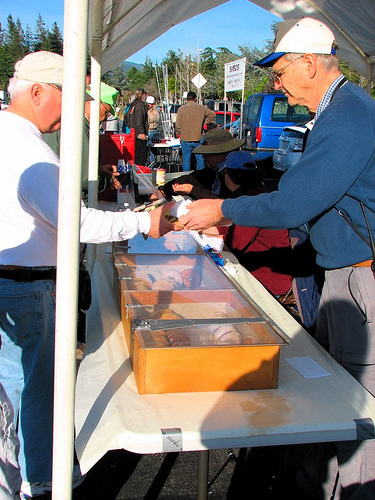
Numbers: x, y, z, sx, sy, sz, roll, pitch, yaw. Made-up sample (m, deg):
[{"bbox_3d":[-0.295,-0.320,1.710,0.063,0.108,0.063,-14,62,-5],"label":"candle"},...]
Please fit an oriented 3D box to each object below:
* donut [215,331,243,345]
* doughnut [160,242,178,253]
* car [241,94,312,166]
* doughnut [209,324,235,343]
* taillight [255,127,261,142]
[{"bbox_3d":[0.123,0.258,1.090,0.073,0.015,0.111,4,8,7],"label":"donut"},{"bbox_3d":[-0.108,-0.012,2.078,0.062,0.042,0.061,0,2,-40],"label":"doughnut"},{"bbox_3d":[2.724,-4.249,13.617,2.794,2.517,4.895,0,26,3],"label":"car"},{"bbox_3d":[0.104,0.253,1.144,0.046,0.043,0.042,13,-5,5],"label":"doughnut"},{"bbox_3d":[2.151,-3.503,11.515,0.076,0.404,0.206,-4,11,-40],"label":"taillight"}]
